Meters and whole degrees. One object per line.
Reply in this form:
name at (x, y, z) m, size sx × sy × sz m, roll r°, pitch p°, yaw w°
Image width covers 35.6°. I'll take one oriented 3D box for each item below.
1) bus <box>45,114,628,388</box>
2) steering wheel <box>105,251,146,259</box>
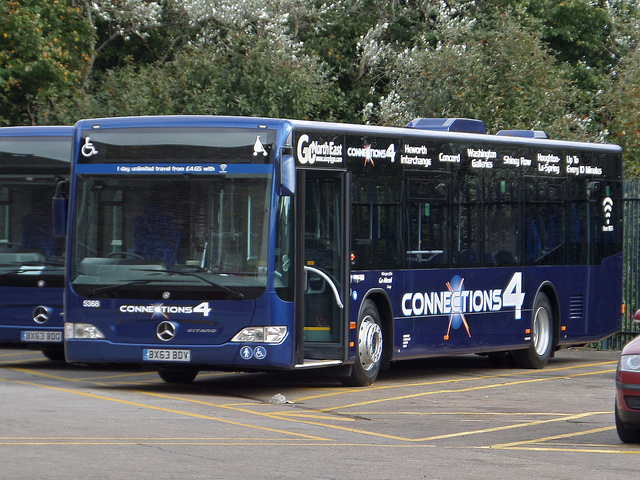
bus at (1.284, 0.124, 16.277) m, size 2.934 × 4.228 × 10.617 m, roll -4°, pitch -5°, yaw 43°
steering wheel at (-2.636, 0.198, 13.077) m, size 0.562 × 0.104 × 0.035 m, roll -1°, pitch -4°, yaw 18°
